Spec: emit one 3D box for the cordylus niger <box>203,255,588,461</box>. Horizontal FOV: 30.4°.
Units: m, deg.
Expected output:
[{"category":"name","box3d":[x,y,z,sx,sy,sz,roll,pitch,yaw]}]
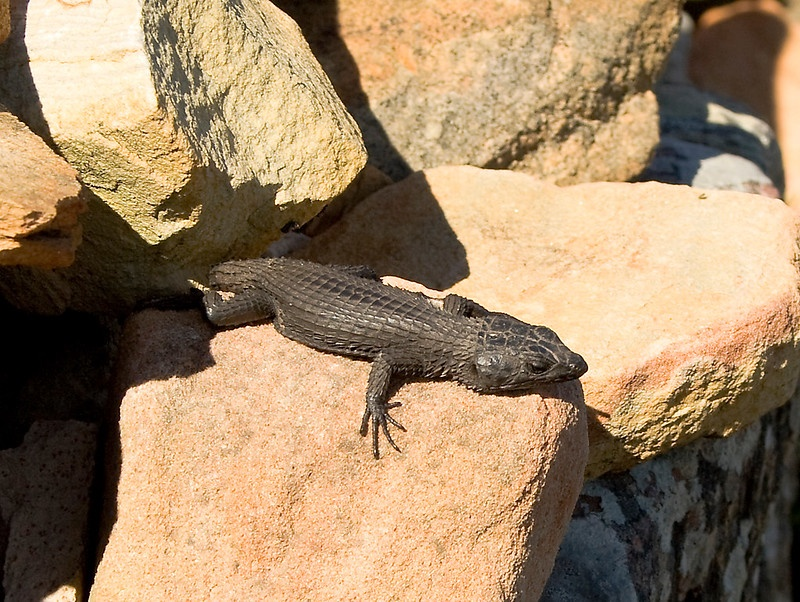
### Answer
[{"category":"cordylus niger","box3d":[-0.116,0.237,9.484,2.437,0.317,0.969,22,54,13]}]
